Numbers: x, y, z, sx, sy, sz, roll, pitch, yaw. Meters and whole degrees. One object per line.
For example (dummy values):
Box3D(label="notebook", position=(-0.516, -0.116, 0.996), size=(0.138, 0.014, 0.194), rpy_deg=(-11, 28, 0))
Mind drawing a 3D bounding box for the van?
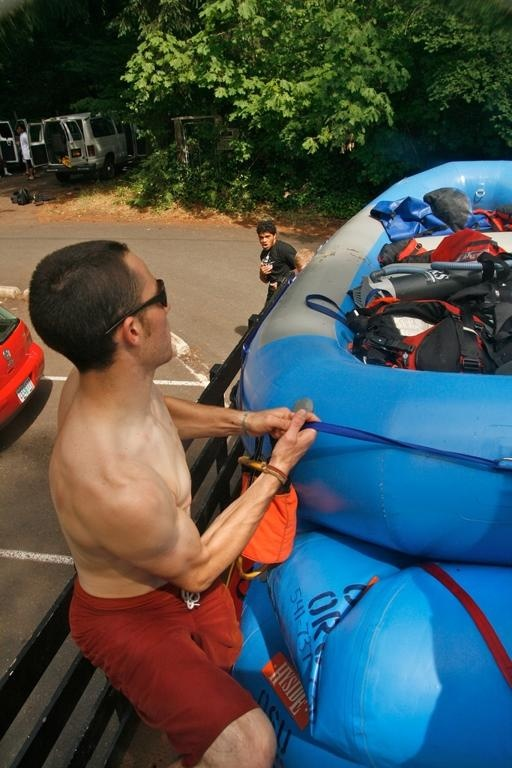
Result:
Box3D(label="van", position=(-4.883, -7.187, 17.485), size=(2.099, 1.504, 3.214), rpy_deg=(12, 41, 25))

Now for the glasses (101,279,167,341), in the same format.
Box3D(label="glasses", position=(-0.314, -0.180, 1.643), size=(0.175, 0.051, 0.168), rpy_deg=(-32, 28, 3))

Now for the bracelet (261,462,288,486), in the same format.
Box3D(label="bracelet", position=(0.064, 0.289, 1.913), size=(0.078, 0.029, 0.068), rpy_deg=(31, 4, -7))
